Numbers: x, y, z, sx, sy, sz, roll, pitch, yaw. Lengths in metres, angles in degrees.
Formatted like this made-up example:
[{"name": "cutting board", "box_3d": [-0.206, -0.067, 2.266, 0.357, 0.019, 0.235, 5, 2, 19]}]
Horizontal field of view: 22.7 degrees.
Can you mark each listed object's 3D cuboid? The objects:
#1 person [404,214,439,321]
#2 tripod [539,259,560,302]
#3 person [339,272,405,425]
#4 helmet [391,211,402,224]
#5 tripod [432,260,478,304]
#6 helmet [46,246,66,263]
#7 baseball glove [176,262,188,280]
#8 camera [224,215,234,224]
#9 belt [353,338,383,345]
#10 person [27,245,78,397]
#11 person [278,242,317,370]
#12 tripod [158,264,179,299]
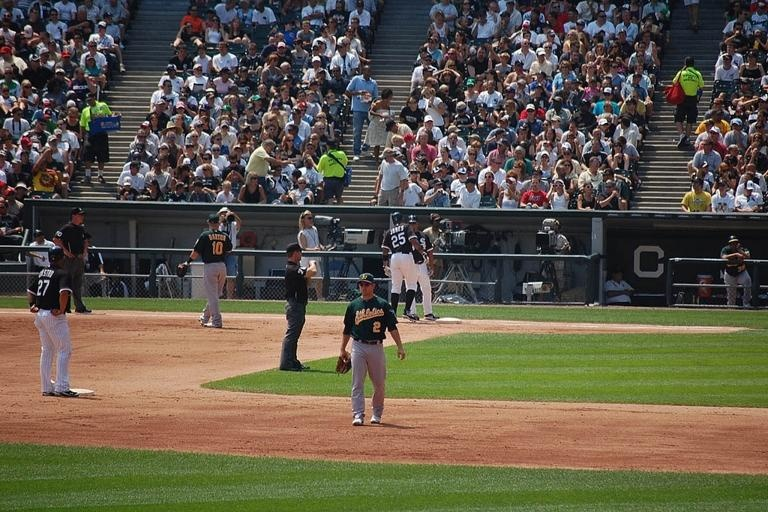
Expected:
[{"name": "person", "box_3d": [0.953, 0.403, 54.281, 0.997, 2.707, 0.893, 1, 0, 14]}, {"name": "tripod", "box_3d": [5.052, 0.759, 58.190, 0.669, 1.149, 0.304, 1, -3, -5]}, {"name": "person", "box_3d": [-0.406, 2.284, 47.239, 1.390, 3.664, 0.586, 1, -3, -1]}, {"name": "helmet", "box_3d": [0.315, -1.035, 53.673, 0.239, 0.309, 0.312, 4, 20, -3]}, {"name": "tripod", "box_3d": [2.164, 0.827, 58.479, 1.341, 1.190, 0.310, 1, -3, 2]}, {"name": "helmet", "box_3d": [-8.370, -0.010, 48.590, 0.310, 0.350, 0.391, 1, 15, -4]}, {"name": "baseball glove", "box_3d": [-5.756, 0.409, 54.135, 0.304, 0.300, 0.696, -29, -2, -18]}, {"name": "camera", "box_3d": [-4.776, -1.064, 58.644, 0.232, 0.221, 0.232, 0, -4, -23]}, {"name": "belt", "box_3d": [-0.423, 2.080, 47.046, 0.725, 0.139, 0.157, 1, -3, 1]}, {"name": "person", "box_3d": [-8.427, 1.647, 48.431, 1.137, 3.683, 0.571, 1, -3, -5]}, {"name": "person", "box_3d": [-2.343, 1.339, 50.251, 0.823, 3.272, 1.044, 1, -3, -4]}, {"name": "tripod", "box_3d": [-6.756, 0.769, 59.059, 0.701, 1.036, 0.319, 2, -3, -10]}]
